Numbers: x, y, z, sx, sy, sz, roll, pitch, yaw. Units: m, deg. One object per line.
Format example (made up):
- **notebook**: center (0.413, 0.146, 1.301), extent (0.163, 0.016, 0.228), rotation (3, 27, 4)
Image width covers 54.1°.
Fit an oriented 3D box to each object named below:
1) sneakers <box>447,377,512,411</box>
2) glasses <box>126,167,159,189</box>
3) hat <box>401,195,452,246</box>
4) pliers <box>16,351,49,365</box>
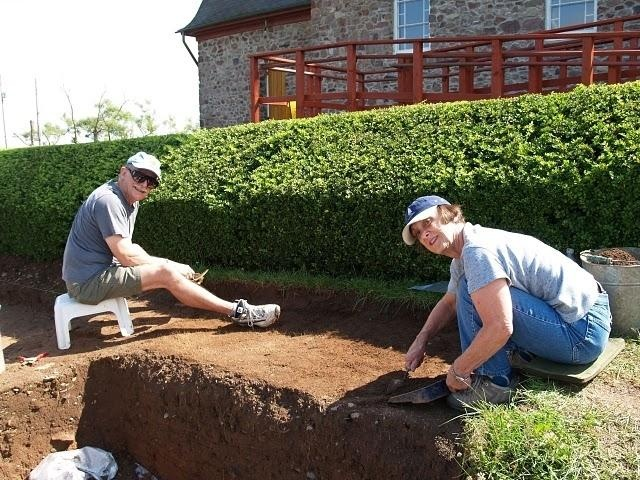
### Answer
- **sneakers**: center (1.375, 1.338, 5.525), extent (0.616, 0.273, 0.218), rotation (0, 15, -3)
- **glasses**: center (-2.042, -0.721, 7.205), extent (0.333, 0.235, 0.150), rotation (-5, 9, -18)
- **hat**: center (0.911, -0.234, 5.491), extent (0.453, 0.260, 0.340), rotation (-26, -15, -27)
- **pliers**: center (-3.272, 1.362, 7.086), extent (0.231, 0.114, 0.105), rotation (6, 48, -16)
